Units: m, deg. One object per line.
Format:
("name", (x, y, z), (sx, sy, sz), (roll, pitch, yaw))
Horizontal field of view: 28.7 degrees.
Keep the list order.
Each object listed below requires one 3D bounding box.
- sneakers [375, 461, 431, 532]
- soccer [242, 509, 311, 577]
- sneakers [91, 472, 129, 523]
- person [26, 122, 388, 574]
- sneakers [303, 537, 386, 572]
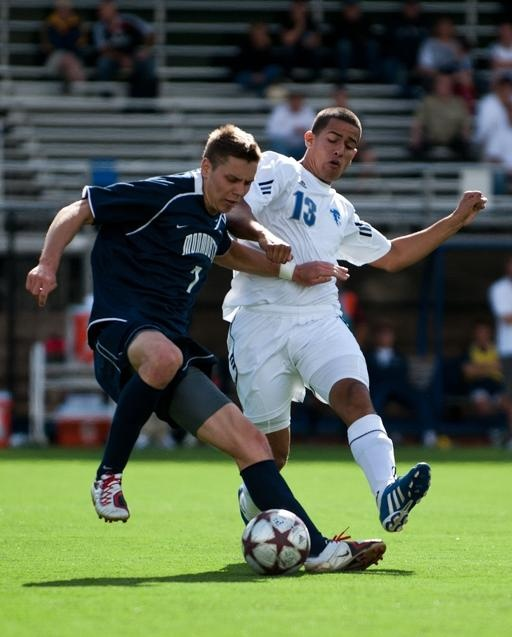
("sneakers", (0.548, 0.633, 3.703), (0.189, 0.288, 0.107), (4, 15, 17))
("soccer", (0.110, 0.793, 3.655), (0.318, 0.214, 0.222), (4, 33, 5))
("sneakers", (-0.566, 0.708, 3.878), (0.141, 0.203, 0.145), (2, 8, -8))
("person", (-0.362, 0.003, 3.941), (0.989, 1.543, 0.610), (3, 8, 1))
("sneakers", (0.318, 0.870, 3.680), (0.311, 0.077, 0.138), (-7, 24, -15))
